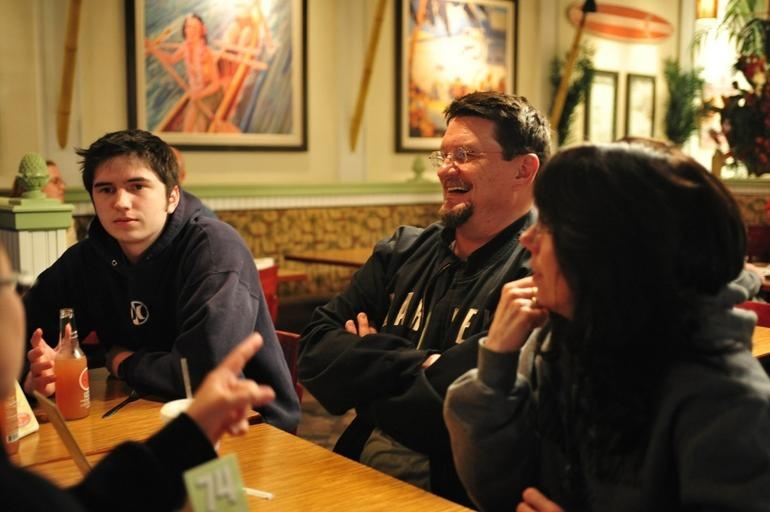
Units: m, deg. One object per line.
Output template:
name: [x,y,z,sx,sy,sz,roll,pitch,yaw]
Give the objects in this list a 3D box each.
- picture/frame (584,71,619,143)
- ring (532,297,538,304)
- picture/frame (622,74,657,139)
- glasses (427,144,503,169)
picture/frame: [2.616,-1.830,7.841,0.625,0.834,0.153,-2,4,-44]
ring: [0.386,0.114,1.675,0.015,0.014,0.015,2,-10,0]
picture/frame: [3.225,-1.892,8.177,0.278,0.813,0.601,2,3,33]
glasses: [0.302,-0.358,2.338,0.178,0.049,0.170,-4,1,-42]
